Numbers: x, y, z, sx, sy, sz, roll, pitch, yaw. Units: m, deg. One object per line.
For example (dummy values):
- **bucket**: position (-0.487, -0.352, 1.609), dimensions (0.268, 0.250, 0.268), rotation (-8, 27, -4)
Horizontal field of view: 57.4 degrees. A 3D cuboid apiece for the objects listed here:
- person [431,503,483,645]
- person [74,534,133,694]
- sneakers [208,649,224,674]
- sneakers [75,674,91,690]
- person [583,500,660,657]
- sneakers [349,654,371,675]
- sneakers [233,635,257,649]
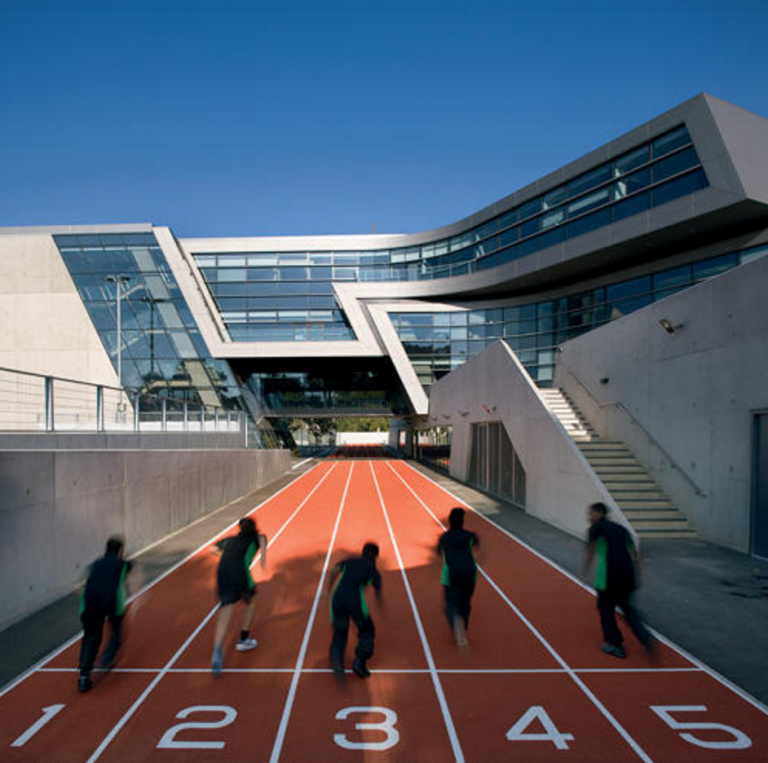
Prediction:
- **person**: position (1.080, 2.804, 10.466), dimensions (0.588, 2.053, 1.471), rotation (0, 7, 4)
- **person**: position (-3.658, 2.997, 9.220), dimensions (0.740, 1.904, 0.415), rotation (-3, 8, -25)
- **sneakers**: position (-2.265, 3.745, 9.490), dimensions (0.179, 0.318, 0.310), rotation (-2, 7, -13)
- **sneakers**: position (-3.871, 3.890, 9.049), dimensions (0.096, 0.145, 0.286), rotation (1, 0, -7)
- **person**: position (3.247, 2.766, 9.777), dimensions (0.888, 2.187, 0.606), rotation (2, 7, 18)
- **sneakers**: position (-0.308, 3.791, 9.395), dimensions (0.140, 0.326, 0.415), rotation (2, -8, 36)
- **sneakers**: position (-1.954, 3.736, 10.041), dimensions (0.130, 0.180, 0.389), rotation (-3, -9, 23)
